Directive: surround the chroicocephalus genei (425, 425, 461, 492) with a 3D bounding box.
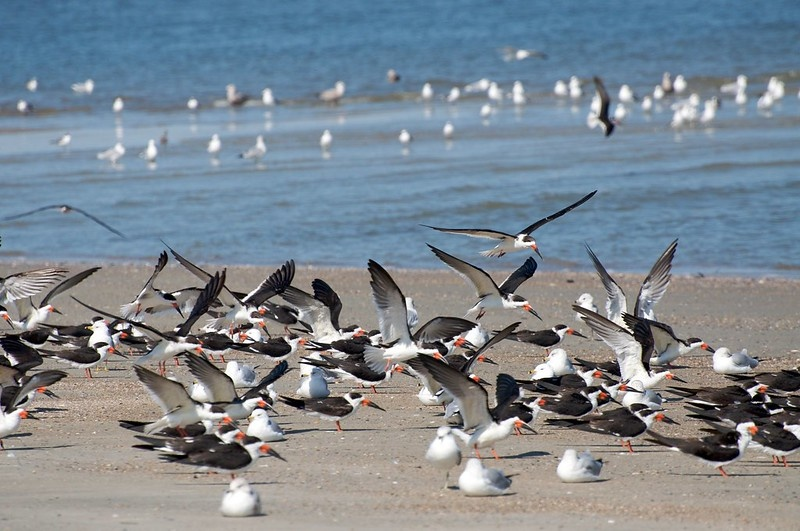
[{"bbox_3d":[1.053,4.447,31.109,0.801,1.444,0.804,-1,9,2],"label":"chroicocephalus genei"}]
